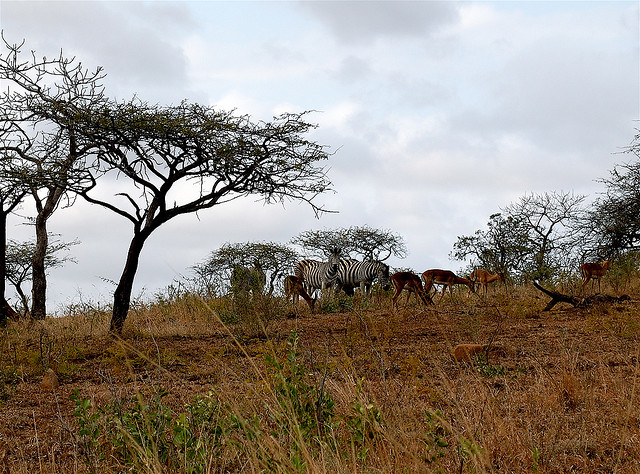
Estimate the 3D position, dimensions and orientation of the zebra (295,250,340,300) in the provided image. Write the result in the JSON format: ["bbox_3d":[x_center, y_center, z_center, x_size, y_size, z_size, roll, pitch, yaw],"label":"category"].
[{"bbox_3d":[0.016,1.110,25.122,0.527,1.207,2.717,1,-11,-20],"label":"zebra"}]

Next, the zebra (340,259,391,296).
[{"bbox_3d":[1.264,1.349,24.654,2.098,1.373,0.505,5,0,40],"label":"zebra"}]
